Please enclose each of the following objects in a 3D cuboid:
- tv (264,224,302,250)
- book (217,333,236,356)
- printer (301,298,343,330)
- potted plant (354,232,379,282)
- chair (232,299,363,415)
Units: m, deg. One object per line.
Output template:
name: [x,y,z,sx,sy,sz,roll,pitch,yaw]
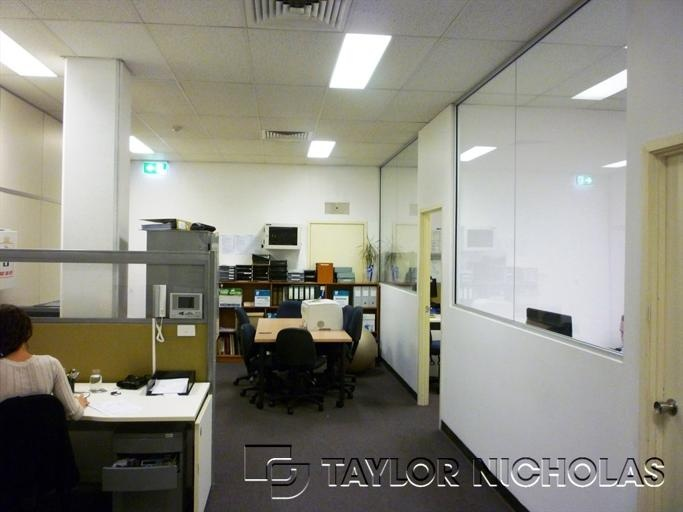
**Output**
tv: [-0.874,-0.285,8.304,0.570,0.413,0.328,1,-6,-10]
book: [-1.676,1.310,8.247,0.269,0.376,0.381,0,-1,2]
printer: [-0.236,0.708,6.846,0.372,0.297,0.379,2,-3,-8]
potted plant: [0.431,0.008,8.712,0.349,0.749,0.260,-1,8,-12]
chair: [-0.486,1.264,6.713,1.037,0.690,1.579,1,2,-2]
